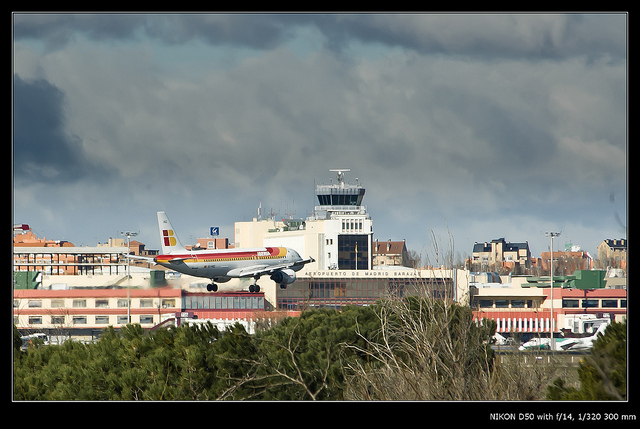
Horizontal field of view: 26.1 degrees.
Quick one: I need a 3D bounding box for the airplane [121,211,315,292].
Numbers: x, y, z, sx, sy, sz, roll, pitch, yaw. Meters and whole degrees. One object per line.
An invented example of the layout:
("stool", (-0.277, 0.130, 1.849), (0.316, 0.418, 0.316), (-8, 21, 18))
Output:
("airplane", (-10.599, 3.825, 155.966), (15.380, 8.373, 16.777), (1, -5, -7))
